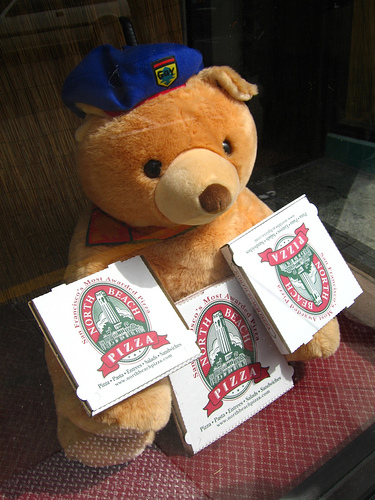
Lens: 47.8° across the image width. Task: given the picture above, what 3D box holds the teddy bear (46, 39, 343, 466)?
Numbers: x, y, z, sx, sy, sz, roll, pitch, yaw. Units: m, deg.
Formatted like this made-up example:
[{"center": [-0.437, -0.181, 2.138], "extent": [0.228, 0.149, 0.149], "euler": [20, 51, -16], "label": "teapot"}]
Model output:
[{"center": [0.028, -0.033, 0.802], "extent": [0.609, 0.623, 0.436], "euler": [-12, 32, -17], "label": "teddy bear"}]
